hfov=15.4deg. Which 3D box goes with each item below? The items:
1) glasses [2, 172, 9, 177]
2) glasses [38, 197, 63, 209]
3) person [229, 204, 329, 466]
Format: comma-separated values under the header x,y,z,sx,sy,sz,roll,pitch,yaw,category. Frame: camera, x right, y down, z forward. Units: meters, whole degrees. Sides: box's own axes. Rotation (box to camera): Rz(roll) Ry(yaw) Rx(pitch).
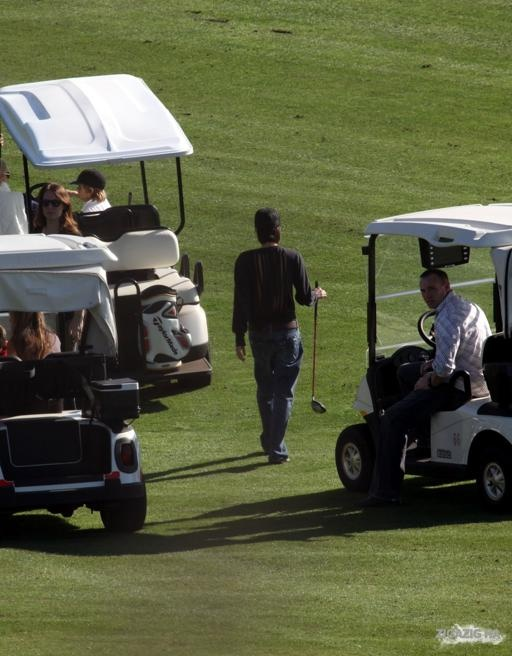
x,y,z,sx,sy,sz,roll,pitch,yaw,category
-2.125,-1.289,15.824,0.052,0.043,0.055,3,9,14,glasses
-1.489,-0.905,13.569,0.160,0.069,0.066,1,9,10,glasses
0.133,0.061,13.222,0.592,1.805,0.356,-1,9,1,person
